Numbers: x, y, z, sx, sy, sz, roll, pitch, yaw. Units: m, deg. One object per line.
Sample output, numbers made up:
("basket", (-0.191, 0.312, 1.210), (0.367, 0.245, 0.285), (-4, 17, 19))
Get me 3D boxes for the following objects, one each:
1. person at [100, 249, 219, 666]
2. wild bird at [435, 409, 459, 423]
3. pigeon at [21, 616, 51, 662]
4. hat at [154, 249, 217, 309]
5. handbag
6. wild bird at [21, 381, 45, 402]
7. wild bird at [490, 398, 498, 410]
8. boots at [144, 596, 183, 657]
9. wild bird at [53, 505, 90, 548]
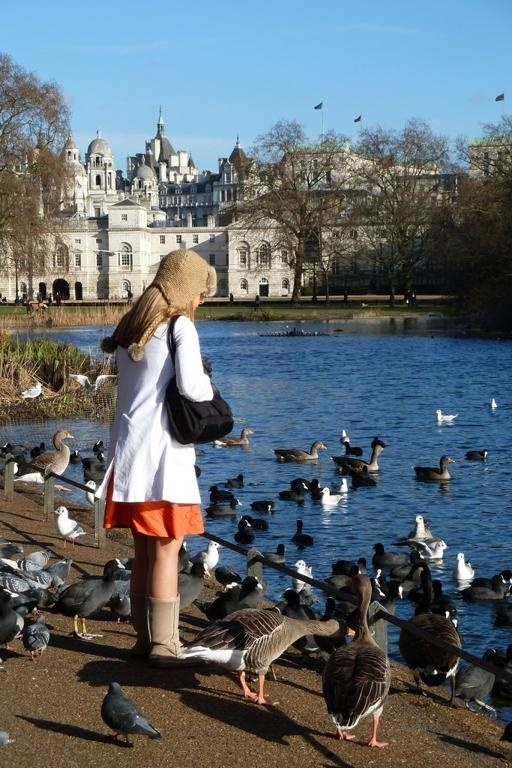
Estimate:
("person", (-0.553, 0.357, 5.779), (0.980, 1.941, 0.739), (0, 1, -7))
("wild bird", (3.882, 0.626, 21.256), (0.540, 0.434, 0.256), (0, 7, -21))
("pigeon", (-1.302, 1.506, 6.246), (0.112, 0.203, 0.333), (-3, 17, -2))
("hat", (-0.402, -0.589, 5.705), (0.273, 0.310, 0.362), (10, 10, 41))
("handbag", (-0.302, -0.017, 5.449), (0.356, 0.691, 0.237), (-2, 6, -7))
("wild bird", (-4.336, 0.120, 20.234), (0.573, 0.384, 0.226), (-10, -2, 41))
("wild bird", (5.287, 0.382, 22.880), (0.140, 0.237, 0.359), (-3, 9, 6))
("boots", (-0.470, 1.329, 5.762), (0.291, 0.373, 0.170), (2, -2, -42))
("wild bird", (-1.798, 1.337, 10.043), (0.234, 0.391, 0.535), (-2, 6, -8))
